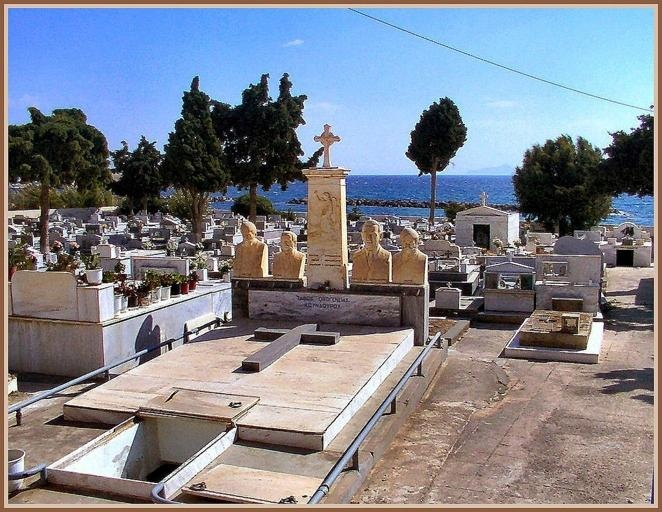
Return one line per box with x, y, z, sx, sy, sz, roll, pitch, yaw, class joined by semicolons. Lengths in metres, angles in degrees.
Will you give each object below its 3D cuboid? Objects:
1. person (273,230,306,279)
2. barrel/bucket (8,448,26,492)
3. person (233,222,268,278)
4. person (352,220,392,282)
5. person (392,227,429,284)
-0.804;-0.027;10.121;0.616;0.886;0.357;0;13;0;person
-3.277;2.225;5.648;0.148;0.301;0.376;-6;14;-25;barrel/bucket
-1.546;-0.135;10.290;0.686;1.087;0.665;-2;13;-9;person
0.752;-0.088;9.734;0.741;1.119;0.561;3;13;9;person
1.385;0.002;9.527;0.608;0.946;0.436;2;13;7;person
